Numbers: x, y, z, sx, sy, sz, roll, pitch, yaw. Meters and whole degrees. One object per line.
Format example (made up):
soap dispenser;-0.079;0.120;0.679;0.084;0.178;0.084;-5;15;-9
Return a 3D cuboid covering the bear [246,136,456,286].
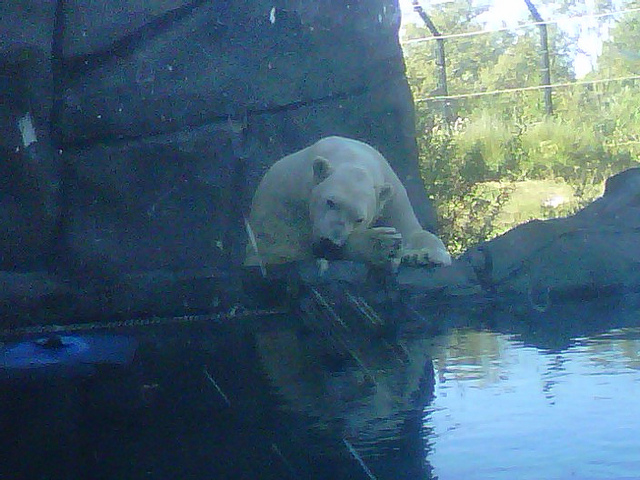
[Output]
bear;0.076;-0.155;3.617;0.953;0.732;0.390;-6;0;-7
